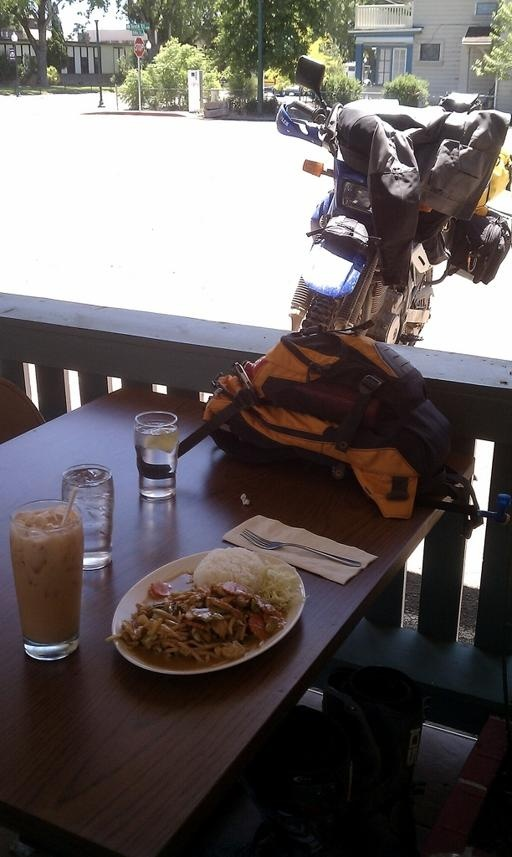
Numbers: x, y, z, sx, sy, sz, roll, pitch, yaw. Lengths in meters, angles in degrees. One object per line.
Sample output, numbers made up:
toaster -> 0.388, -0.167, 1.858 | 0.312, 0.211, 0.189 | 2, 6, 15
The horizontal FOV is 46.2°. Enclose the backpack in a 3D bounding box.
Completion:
backpack -> 0.161, -0.060, 1.374 | 0.493, 0.219, 0.379 | 30, 69, 25
